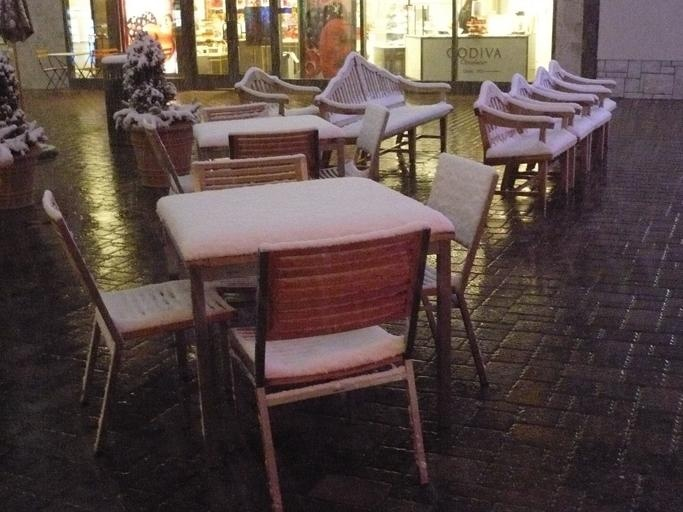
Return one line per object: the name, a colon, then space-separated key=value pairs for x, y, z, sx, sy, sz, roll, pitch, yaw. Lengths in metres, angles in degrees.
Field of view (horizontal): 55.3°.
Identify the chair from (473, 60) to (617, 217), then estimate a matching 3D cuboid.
chair: x=2.405 y=-1.481 z=7.820 sx=0.990 sy=1.235 sz=2.466 roll=14 pitch=26 yaw=32
